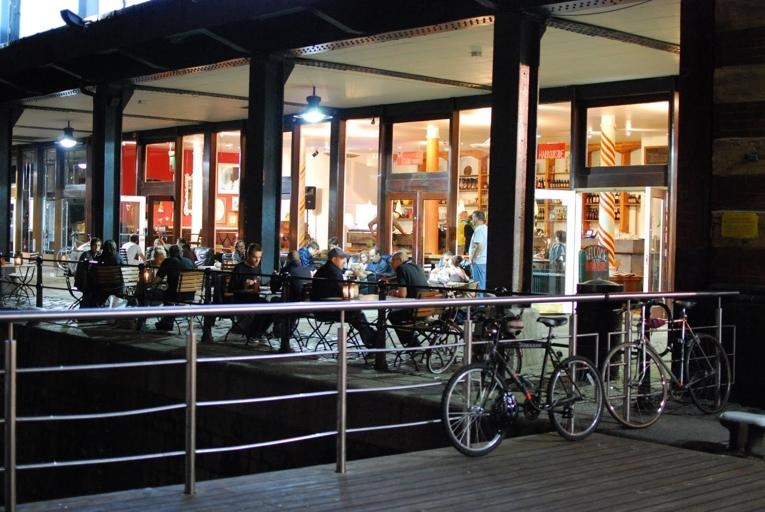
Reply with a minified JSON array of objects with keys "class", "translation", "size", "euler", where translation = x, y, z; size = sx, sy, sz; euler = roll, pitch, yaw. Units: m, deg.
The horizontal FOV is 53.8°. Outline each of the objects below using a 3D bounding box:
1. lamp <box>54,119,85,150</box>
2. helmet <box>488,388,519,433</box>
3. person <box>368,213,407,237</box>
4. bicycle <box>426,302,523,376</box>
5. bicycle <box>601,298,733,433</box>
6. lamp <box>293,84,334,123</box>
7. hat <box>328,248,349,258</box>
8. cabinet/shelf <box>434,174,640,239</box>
[{"class":"lamp","translation":[-9.492,-3.705,22.836],"size":[0.695,1.184,0.679],"euler":[-2,-7,9]},{"class":"helmet","translation":[1.134,1.408,6.884],"size":[0.147,0.361,0.278],"euler":[-5,-9,45]},{"class":"person","translation":[0.289,-0.754,18.159],"size":[0.549,0.328,0.807],"euler":[5,29,10]},{"class":"bicycle","translation":[1.017,1.127,10.104],"size":[1.494,0.874,0.720],"euler":[3,-8,-14]},{"class":"bicycle","translation":[3.055,1.080,8.146],"size":[1.986,1.242,0.895],"euler":[-5,9,-44]},{"class":"lamp","translation":[-1.423,-3.185,16.002],"size":[0.730,0.734,0.744],"euler":[0,-4,42]},{"class":"hat","translation":[-0.651,-0.048,11.028],"size":[0.211,0.104,0.145],"euler":[-8,3,-5]},{"class":"cabinet/shelf","translation":[3.610,-1.083,17.216],"size":[4.410,1.374,5.786],"euler":[3,7,18]}]
